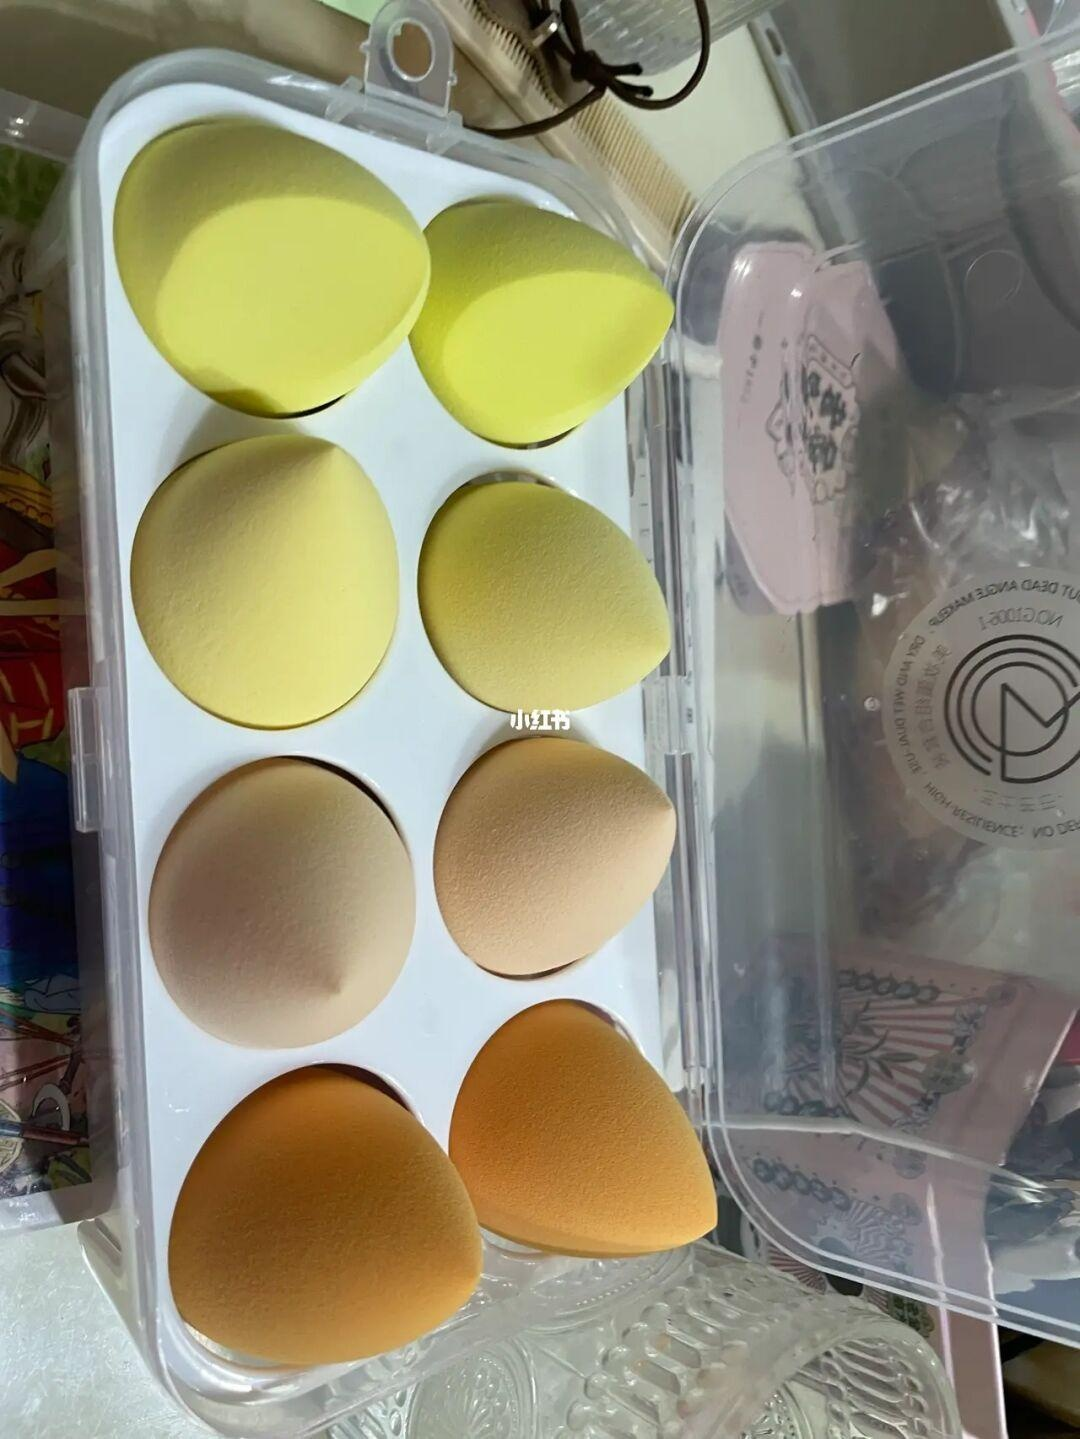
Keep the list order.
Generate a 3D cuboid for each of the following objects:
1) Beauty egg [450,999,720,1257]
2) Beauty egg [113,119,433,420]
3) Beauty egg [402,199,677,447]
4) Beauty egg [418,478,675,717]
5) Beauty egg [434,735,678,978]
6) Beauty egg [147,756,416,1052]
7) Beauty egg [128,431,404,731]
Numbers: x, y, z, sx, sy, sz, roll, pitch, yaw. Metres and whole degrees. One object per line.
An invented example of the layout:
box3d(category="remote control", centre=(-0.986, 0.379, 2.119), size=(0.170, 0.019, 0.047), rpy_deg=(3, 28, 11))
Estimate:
box3d(category="Beauty egg", centre=(0.022, 0.154, 0.545), size=(0.111, 0.073, 0.123), rpy_deg=(1, 46, 18))
box3d(category="Beauty egg", centre=(-0.096, -0.153, 0.469), size=(0.117, 0.117, 0.055), rpy_deg=(-6, 100, -12))
box3d(category="Beauty egg", centre=(-0.008, -0.167, 0.535), size=(0.118, 0.136, 0.081), rpy_deg=(-4, 97, -27))
box3d(category="Beauty egg", centre=(0.002, -0.041, 0.548), size=(0.101, 0.060, 0.081), rpy_deg=(39, 53, -35))
box3d(category="Beauty egg", centre=(0.001, 0.052, 0.521), size=(0.106, 0.062, 0.077), rpy_deg=(-21, 92, -8))
box3d(category="Beauty egg", centre=(-0.106, 0.057, 0.471), size=(0.102, 0.045, 0.096), rpy_deg=(-30, 107, -20))
box3d(category="Beauty egg", centre=(-0.099, -0.043, 0.459), size=(0.090, 0.109, 0.077), rpy_deg=(2, 60, 1))
